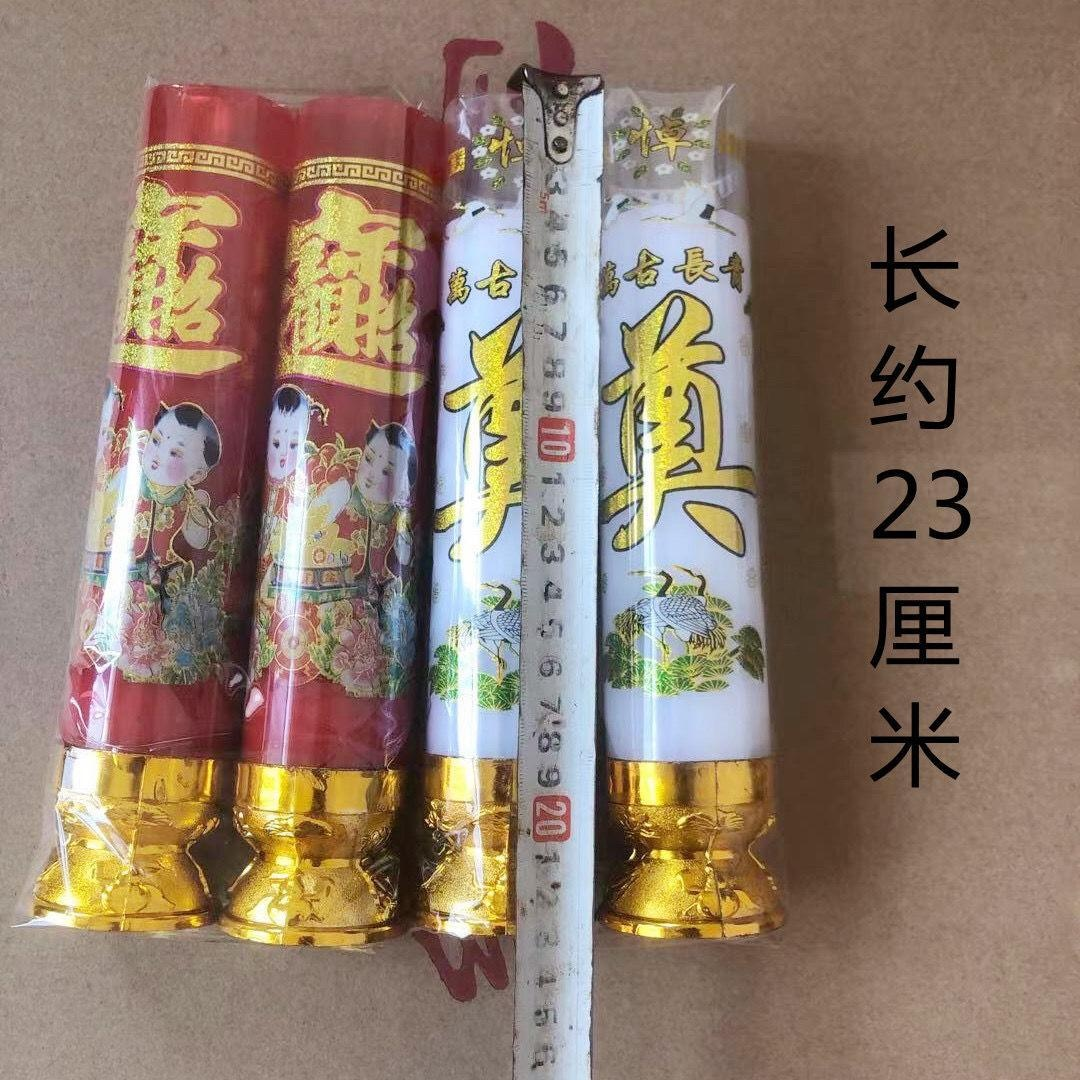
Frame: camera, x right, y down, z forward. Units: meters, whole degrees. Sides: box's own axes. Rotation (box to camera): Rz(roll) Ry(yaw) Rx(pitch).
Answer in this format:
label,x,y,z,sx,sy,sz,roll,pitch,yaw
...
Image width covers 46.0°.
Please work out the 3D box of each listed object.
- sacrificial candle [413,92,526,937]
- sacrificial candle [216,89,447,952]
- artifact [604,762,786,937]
label,x,y,z,sx,sy,sz,roll,pitch,yaw
sacrificial candle,-0.041,-0.020,0.990,0.101,0.134,0.618,1,90,36
sacrificial candle,-0.167,-0.022,1.004,0.174,0.169,0.633,2,86,23
artifact,0.100,0.235,0.985,0.165,0.147,0.122,6,77,-30
